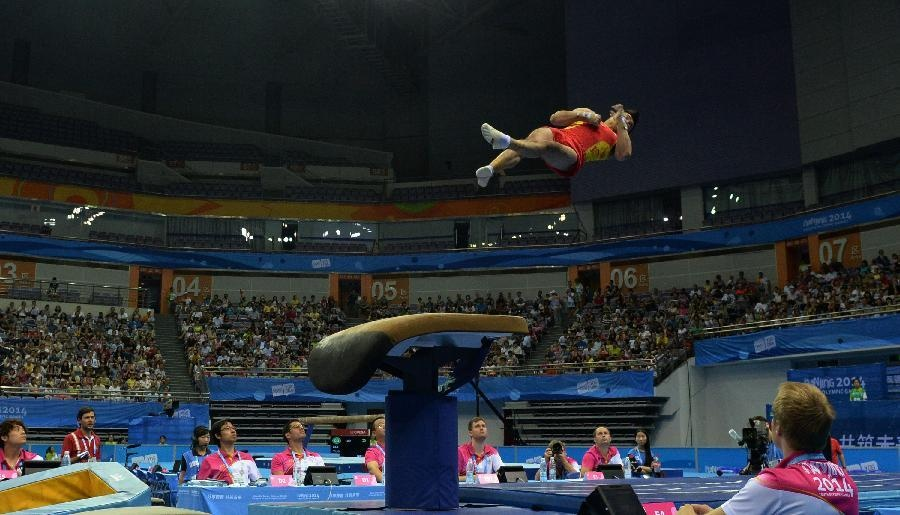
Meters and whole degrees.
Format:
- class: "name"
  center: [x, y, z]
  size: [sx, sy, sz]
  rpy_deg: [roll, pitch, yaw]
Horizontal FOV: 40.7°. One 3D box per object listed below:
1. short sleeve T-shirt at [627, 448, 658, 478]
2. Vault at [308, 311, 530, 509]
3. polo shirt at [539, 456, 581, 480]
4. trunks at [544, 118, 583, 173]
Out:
- class: "short sleeve T-shirt"
  center: [8.540, 9.171, 53.845]
  size: [0.889, 0.921, 0.523]
  rpy_deg: [17, -42, -19]
- class: "Vault"
  center: [-1.199, 6.244, 49.614]
  size: [8.691, 8.215, 6.630]
  rpy_deg: [5, -11, -21]
- class: "polo shirt"
  center: [4.846, 9.156, 52.868]
  size: [1.022, 0.540, 1.344]
  rpy_deg: [6, -10, -27]
- class: "trunks"
  center: [4.962, -4.480, 51.213]
  size: [1.432, 2.017, 0.632]
  rpy_deg: [0, -7, -16]
